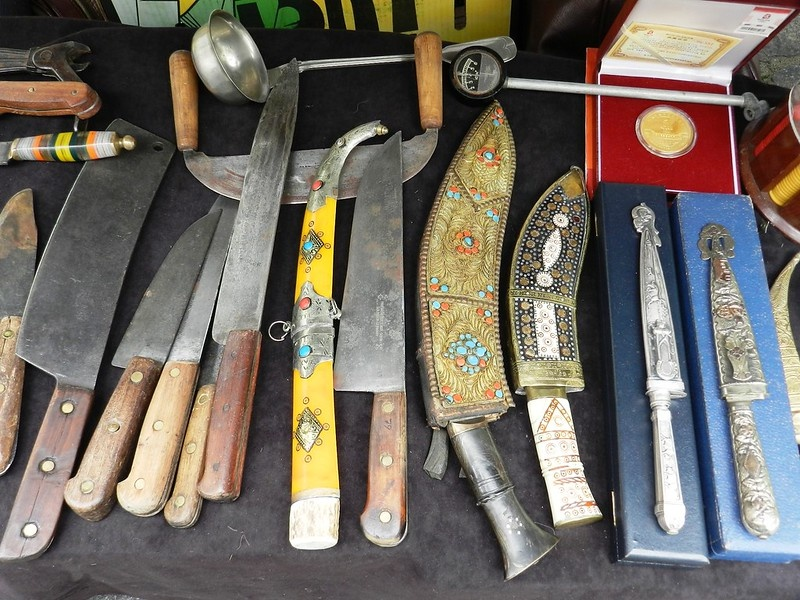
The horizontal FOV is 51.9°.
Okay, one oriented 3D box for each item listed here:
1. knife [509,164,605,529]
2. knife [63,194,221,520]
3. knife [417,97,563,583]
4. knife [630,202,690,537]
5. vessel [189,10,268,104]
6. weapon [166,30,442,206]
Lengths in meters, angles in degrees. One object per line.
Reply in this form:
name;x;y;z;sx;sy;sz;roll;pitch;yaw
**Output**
knife;0.293;0.071;1.550;0.157;0.063;0.588;-6;70;2
knife;-0.462;0.114;1.545;0.112;0.066;0.710;15;67;1
knife;0.138;0.033;1.561;0.194;0.096;0.991;-1;63;3
knife;0.477;0.109;1.494;0.077;0.027;0.521;-1;68;6
vessel;-0.349;-0.491;1.695;0.065;0.173;0.169;-18;78;18
weapon;-0.234;-0.418;1.691;0.622;0.447;0.070;-4;82;5
